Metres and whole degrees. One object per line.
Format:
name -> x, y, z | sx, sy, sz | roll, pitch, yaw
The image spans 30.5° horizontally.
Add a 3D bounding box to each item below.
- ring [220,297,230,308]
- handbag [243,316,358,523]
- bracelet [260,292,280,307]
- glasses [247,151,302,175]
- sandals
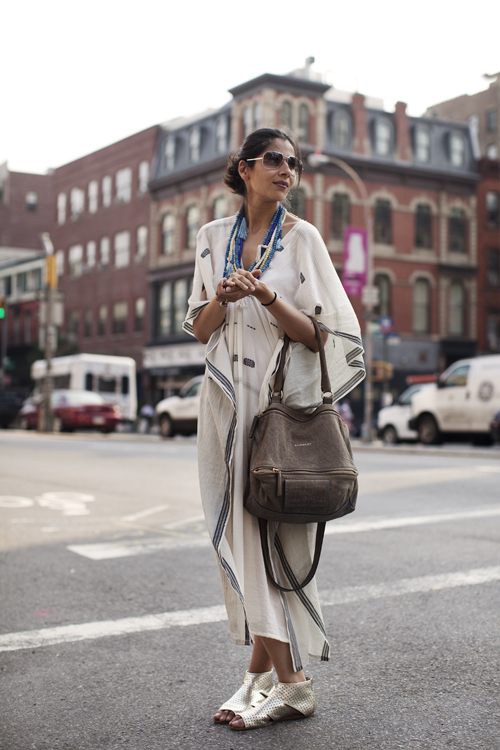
ring -> -0.078, -0.225, 2.804 | 0.020, 0.019, 0.018 | 11, -15, -34
handbag -> 0.150, 0.147, 2.733 | 0.330, 0.640, 0.318 | 0, -1, -1
bracelet -> 0.056, -0.227, 2.752 | 0.057, 0.045, 0.055 | 0, -1, 24
glasses -> 0.069, -0.676, 2.904 | 0.088, 0.029, 0.092 | 4, -7, -35
sandals -> 0.044, 1.016, 2.845 | 0.248, 0.093, 0.133 | 8, -13, -34
